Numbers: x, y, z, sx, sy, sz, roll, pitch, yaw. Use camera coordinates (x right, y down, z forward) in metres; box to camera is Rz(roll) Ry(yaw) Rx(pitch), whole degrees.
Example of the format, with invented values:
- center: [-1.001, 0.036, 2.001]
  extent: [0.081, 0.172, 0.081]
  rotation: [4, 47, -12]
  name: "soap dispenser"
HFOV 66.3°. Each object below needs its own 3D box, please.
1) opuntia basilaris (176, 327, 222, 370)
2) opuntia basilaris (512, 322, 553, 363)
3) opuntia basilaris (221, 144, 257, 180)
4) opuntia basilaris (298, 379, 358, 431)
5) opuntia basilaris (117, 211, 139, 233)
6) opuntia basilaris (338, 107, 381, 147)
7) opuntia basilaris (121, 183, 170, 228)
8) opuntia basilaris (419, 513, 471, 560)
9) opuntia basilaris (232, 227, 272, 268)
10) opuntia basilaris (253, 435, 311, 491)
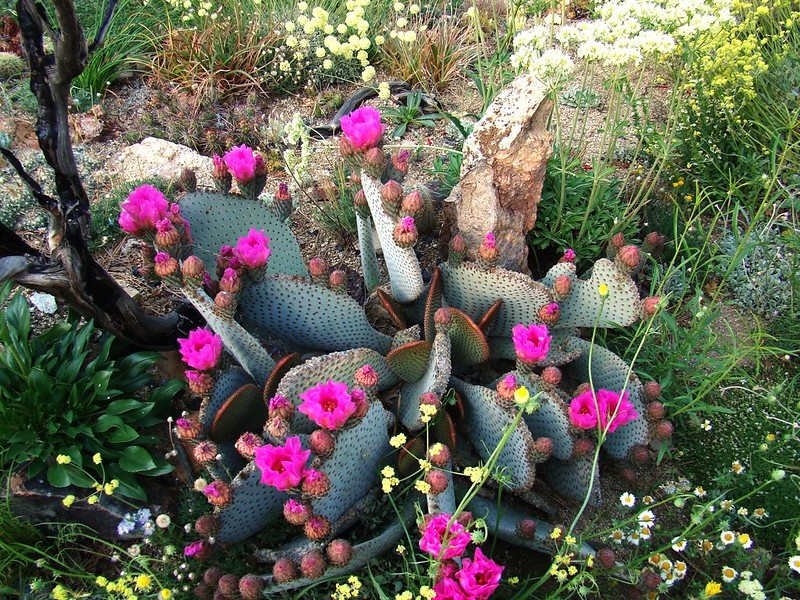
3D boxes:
- center: [-0.776, 0.194, 2.371]
  extent: [0.148, 0.145, 0.128]
  rotation: [4, 34, -3]
  name: "opuntia basilaris"
- center: [0.516, 0.168, 2.452]
  extent: [0.138, 0.148, 0.150]
  rotation: [24, 69, 30]
  name: "opuntia basilaris"
- center: [-0.687, -0.622, 2.696]
  extent: [0.140, 0.153, 0.143]
  rotation: [-10, 55, 4]
  name: "opuntia basilaris"
- center: [-0.249, 0.365, 2.208]
  extent: [0.161, 0.105, 0.192]
  rotation: [-8, 74, 7]
  name: "opuntia basilaris"
- center: [-1.067, -0.297, 2.401]
  extent: [0.060, 0.113, 0.066]
  rotation: [-13, 38, -26]
  name: "opuntia basilaris"
- center: [-0.149, -0.703, 2.565]
  extent: [0.154, 0.158, 0.167]
  rotation: [-3, 42, 18]
  name: "opuntia basilaris"
- center: [-1.012, -0.352, 2.422]
  extent: [0.170, 0.150, 0.228]
  rotation: [0, 35, -10]
  name: "opuntia basilaris"
- center: [0.150, 0.791, 2.052]
  extent: [0.148, 0.102, 0.168]
  rotation: [-8, 44, 1]
  name: "opuntia basilaris"
- center: [-0.614, -0.231, 2.567]
  extent: [0.140, 0.104, 0.166]
  rotation: [-18, 86, 2]
  name: "opuntia basilaris"
- center: [-0.404, 0.563, 2.100]
  extent: [0.157, 0.118, 0.197]
  rotation: [-5, 77, 12]
  name: "opuntia basilaris"
